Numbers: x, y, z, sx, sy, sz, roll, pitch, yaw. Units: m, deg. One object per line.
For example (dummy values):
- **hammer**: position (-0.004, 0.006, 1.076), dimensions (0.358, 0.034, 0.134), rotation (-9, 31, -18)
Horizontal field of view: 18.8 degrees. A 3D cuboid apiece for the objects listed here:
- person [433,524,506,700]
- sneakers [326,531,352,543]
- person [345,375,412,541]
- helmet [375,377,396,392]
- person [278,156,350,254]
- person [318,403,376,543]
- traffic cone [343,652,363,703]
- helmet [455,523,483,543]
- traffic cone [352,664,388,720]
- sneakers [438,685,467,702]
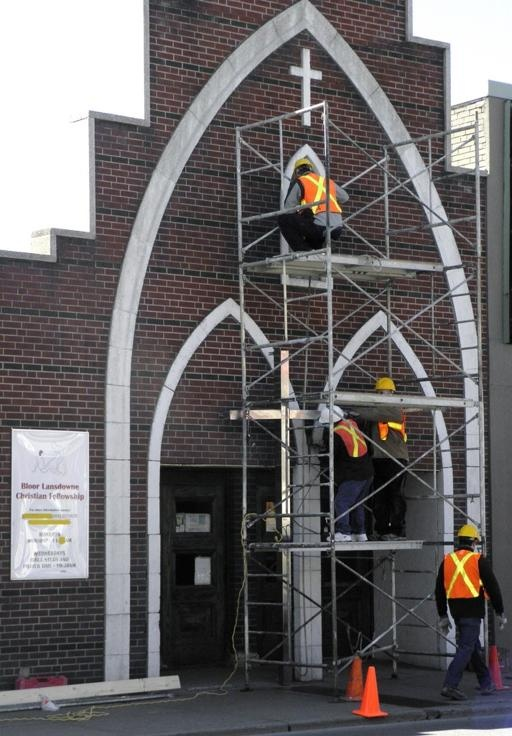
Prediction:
- **person**: position (2.194, 2.451, 15.850), dimensions (0.681, 1.752, 0.596), rotation (-4, -10, 8)
- **sneakers**: position (0.891, 1.757, 16.242), dimensions (0.271, 0.138, 0.111), rotation (9, -14, -36)
- **person**: position (1.378, 0.984, 17.471), dimensions (0.633, 1.893, 0.699), rotation (0, -18, 0)
- **helmet**: position (1.433, 0.179, 17.244), dimensions (0.195, 0.195, 0.235), rotation (-4, -11, 4)
- **person**: position (0.597, -1.710, 16.972), dimensions (0.548, 1.220, 0.581), rotation (4, -4, -28)
- **person**: position (0.978, 1.079, 16.709), dimensions (0.560, 1.621, 1.305), rotation (-3, -10, 4)
- **traffic cone**: position (1.019, 3.108, 15.585), dimensions (0.236, 0.426, 0.289), rotation (-3, -27, 14)
- **helmet**: position (2.233, 1.706, 16.254), dimensions (0.221, 0.215, 0.335), rotation (3, 1, 24)
- **traffic cone**: position (1.111, 3.086, 14.763), dimensions (0.306, 0.424, 0.357), rotation (-1, 8, -12)
- **sneakers**: position (1.975, 3.263, 15.530), dimensions (0.268, 0.158, 0.105), rotation (8, 21, 3)
